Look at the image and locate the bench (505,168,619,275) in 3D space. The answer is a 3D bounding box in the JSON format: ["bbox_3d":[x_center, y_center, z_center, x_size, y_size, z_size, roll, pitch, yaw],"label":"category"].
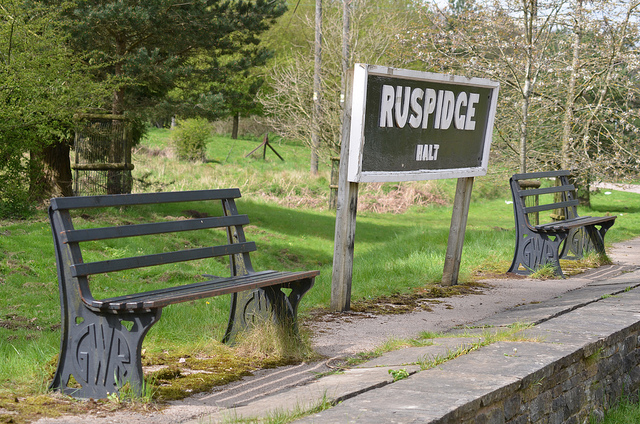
[{"bbox_3d":[5.219,0.243,21.505,1.313,2.178,3.282,3,6,32],"label":"bench"}]
